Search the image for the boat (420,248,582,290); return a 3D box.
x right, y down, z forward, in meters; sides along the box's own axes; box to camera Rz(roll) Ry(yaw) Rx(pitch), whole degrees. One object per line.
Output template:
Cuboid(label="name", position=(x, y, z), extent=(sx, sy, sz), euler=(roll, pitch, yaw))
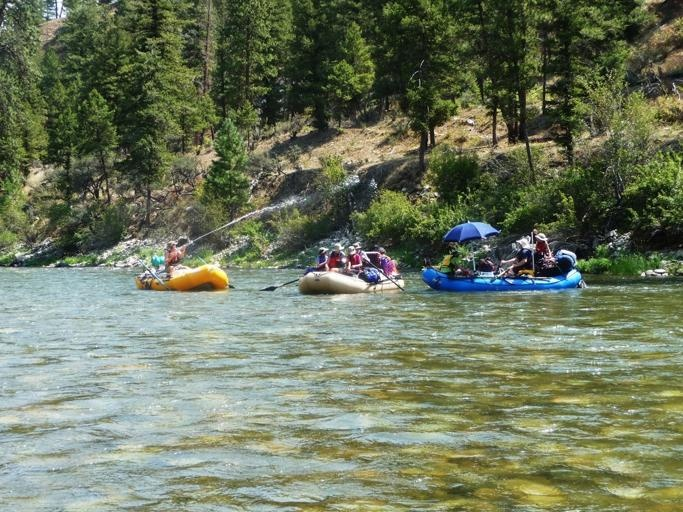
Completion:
Cuboid(label="boat", position=(6.792, 1.000, 47.203), extent=(6.729, 1.899, 2.328), euler=(3, -6, 1))
